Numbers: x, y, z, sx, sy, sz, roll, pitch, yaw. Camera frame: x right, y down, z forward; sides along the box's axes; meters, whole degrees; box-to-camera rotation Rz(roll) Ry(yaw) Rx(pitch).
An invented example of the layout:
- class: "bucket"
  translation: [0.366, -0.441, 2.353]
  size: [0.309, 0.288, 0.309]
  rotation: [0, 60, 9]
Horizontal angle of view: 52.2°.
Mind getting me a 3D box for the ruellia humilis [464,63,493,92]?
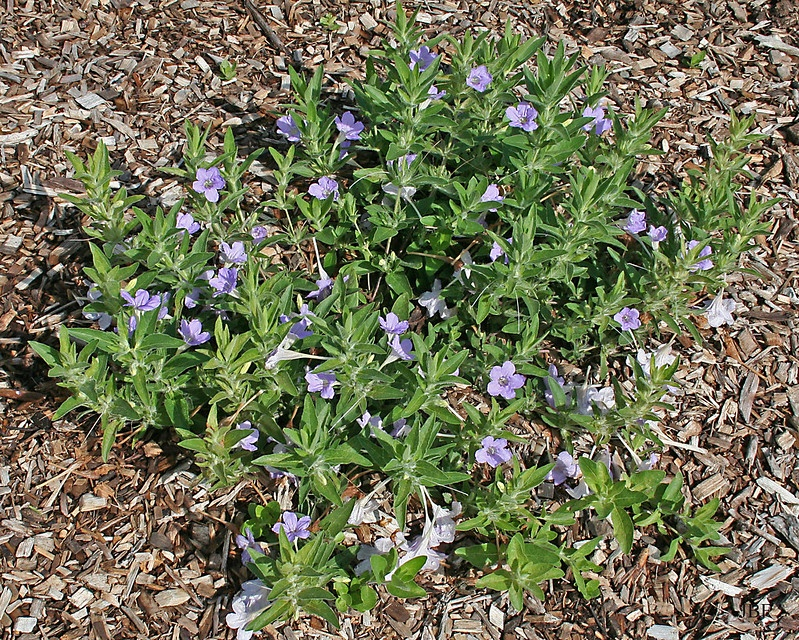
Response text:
- class: "ruellia humilis"
  translation: [0.430, -1.288, 4.398]
  size: [0.131, 0.155, 0.136]
  rotation: [13, 57, 7]
